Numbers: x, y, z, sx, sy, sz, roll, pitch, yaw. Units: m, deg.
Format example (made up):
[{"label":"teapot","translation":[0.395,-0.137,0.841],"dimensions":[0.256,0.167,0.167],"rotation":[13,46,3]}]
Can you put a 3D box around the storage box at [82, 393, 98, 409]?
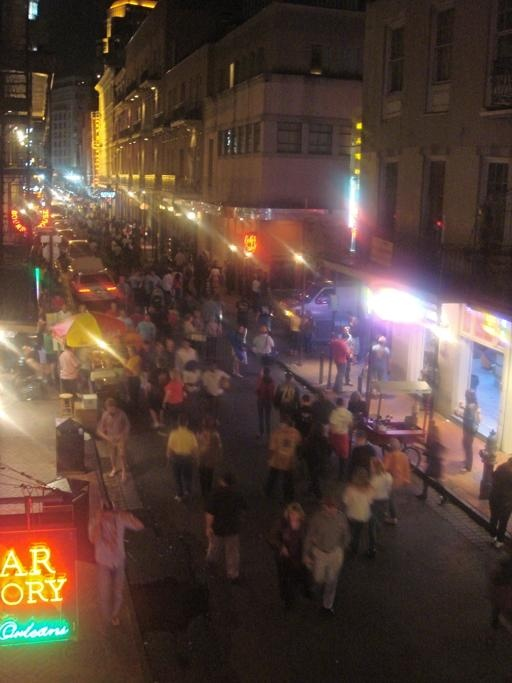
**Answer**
[{"label":"storage box","translation":[-3.696,1.287,12.821],"dimensions":[0.241,0.352,0.285],"rotation":[0,5,-20]}]

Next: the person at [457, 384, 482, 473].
[{"label":"person","translation":[4.147,1.708,11.149],"dimensions":[0.409,1.699,0.384],"rotation":[2,12,11]}]

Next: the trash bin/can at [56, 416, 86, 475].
[{"label":"trash bin/can","translation":[-3.270,1.809,10.094],"dimensions":[0.352,0.955,0.454],"rotation":[-8,18,-29]}]
